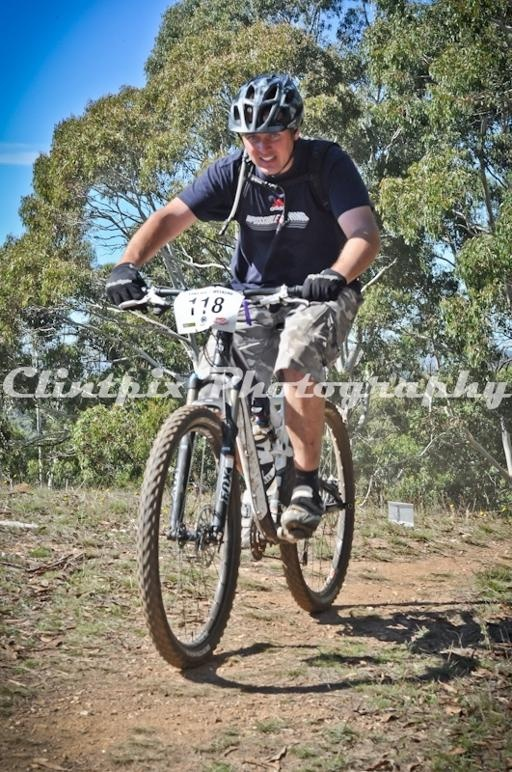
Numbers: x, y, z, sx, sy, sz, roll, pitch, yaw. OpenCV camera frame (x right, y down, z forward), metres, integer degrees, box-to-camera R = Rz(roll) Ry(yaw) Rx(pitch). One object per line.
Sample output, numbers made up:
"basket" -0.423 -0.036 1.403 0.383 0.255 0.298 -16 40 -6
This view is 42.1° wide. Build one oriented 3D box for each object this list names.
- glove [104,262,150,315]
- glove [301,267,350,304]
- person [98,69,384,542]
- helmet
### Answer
"glove" -0.525 -0.397 2.692 0.146 0.202 0.087 0 15 16
"glove" 0.254 -0.376 2.465 0.140 0.128 0.158 0 -3 33
"person" -0.050 -0.355 3.041 1.126 1.975 0.972 -1 0 -1
"helmet" 0.042 -1.174 2.776 0.309 0.339 0.234 3 -3 -3
